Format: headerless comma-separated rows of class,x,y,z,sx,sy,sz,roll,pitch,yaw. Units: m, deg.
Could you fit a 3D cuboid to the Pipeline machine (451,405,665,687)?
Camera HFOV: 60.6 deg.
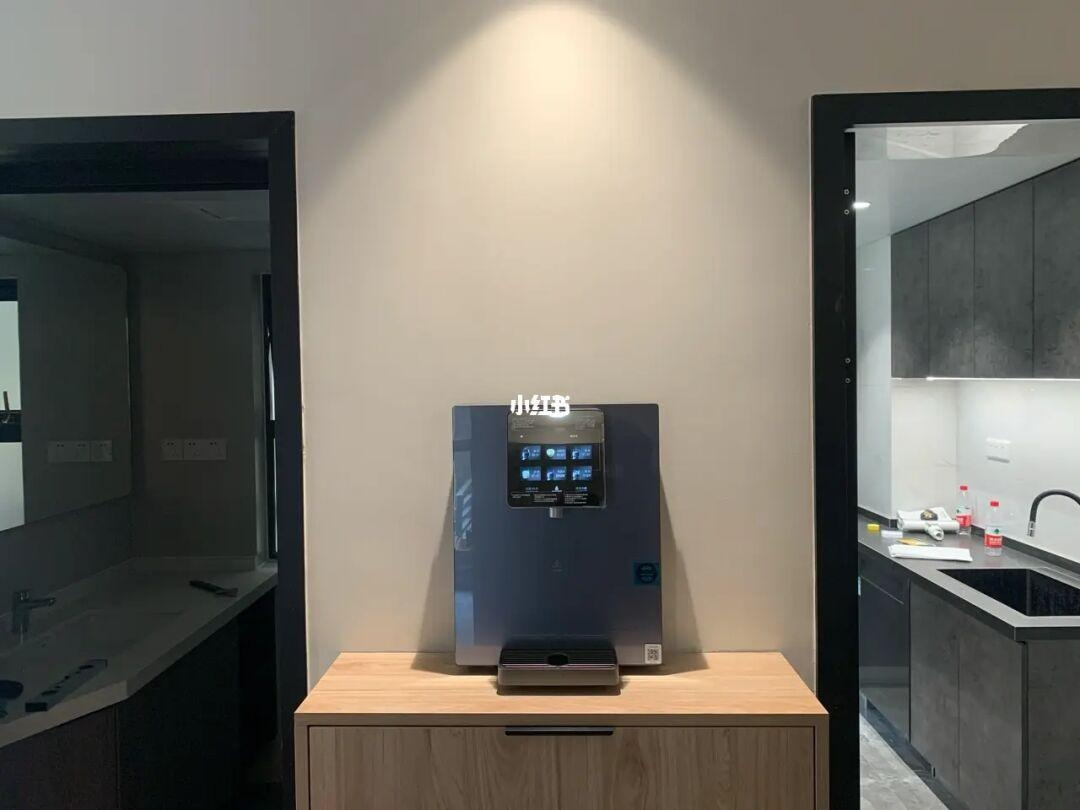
Pipeline machine,0.055,0.428,2.427,0.526,0.726,0.346,-2,-33,3
